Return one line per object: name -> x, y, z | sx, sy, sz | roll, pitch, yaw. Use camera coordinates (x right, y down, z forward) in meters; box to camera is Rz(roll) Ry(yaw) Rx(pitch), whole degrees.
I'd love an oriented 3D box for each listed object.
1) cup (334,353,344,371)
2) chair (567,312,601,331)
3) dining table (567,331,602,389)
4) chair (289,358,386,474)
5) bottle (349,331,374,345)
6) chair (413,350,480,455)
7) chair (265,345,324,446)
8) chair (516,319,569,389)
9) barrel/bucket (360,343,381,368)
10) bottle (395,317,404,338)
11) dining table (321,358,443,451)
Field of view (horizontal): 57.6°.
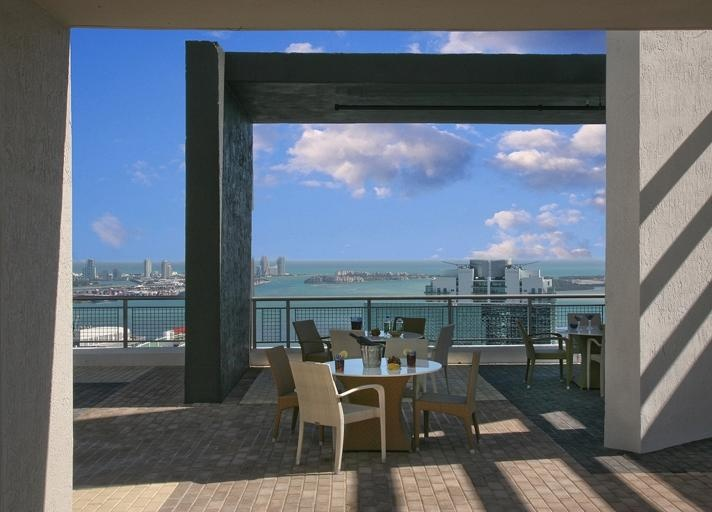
cup -> -0.156, 1.113, 6.672 | 0.146, 0.196, 0.152 | 1, -10, 0
chair -> 3.465, 0.923, 9.840 | 0.418, 0.302, 0.234 | -1, -6, 14
dining table -> 3.316, 1.449, 9.212 | 0.622, 0.632, 0.622 | 2, -3, -30
chair -> -0.193, 1.551, 6.448 | 0.739, 1.048, 0.695 | 0, -2, -41
bottle -> 0.046, 0.909, 6.885 | 0.289, 0.104, 0.190 | 12, -6, 20
chair -> 0.970, 1.503, 6.835 | 0.624, 0.899, 0.583 | 1, 1, 20
chair -> -0.587, 1.471, 6.991 | 0.610, 0.934, 0.601 | -5, -1, 31
chair -> 2.846, 1.417, 9.716 | 0.921, 1.188, 0.986 | 0, 0, 5
barrel/bucket -> 0.168, 1.063, 6.790 | 0.219, 0.197, 0.191 | -1, -4, 10
bottle -> 0.586, 0.955, 8.740 | 0.147, 0.293, 0.153 | -1, -2, 0
dining table -> 0.254, 1.509, 6.845 | 0.922, 0.637, 0.963 | 0, -7, 3
